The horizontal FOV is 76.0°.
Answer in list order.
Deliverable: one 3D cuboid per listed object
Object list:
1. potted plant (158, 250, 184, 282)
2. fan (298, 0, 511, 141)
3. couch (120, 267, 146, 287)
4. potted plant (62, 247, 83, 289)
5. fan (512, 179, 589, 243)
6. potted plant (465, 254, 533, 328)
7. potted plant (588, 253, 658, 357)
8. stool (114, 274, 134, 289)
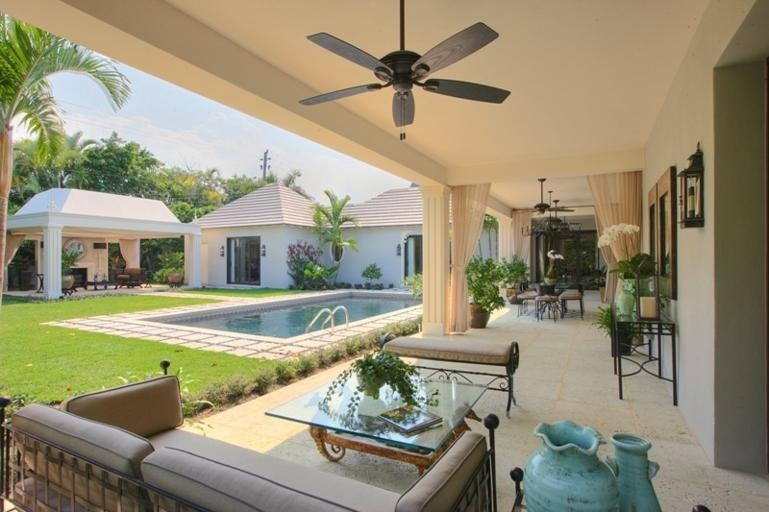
[{"bbox_3d":[-9.132,0.458,21.091,1.476,1.402,1.043,3,-4,-45],"label":"potted plant"},{"bbox_3d":[0.296,-1.546,4.052,1.427,0.680,1.446,-8,-11,44],"label":"fan"},{"bbox_3d":[-9.156,0.785,17.837,1.090,0.707,0.687,-3,-5,20],"label":"couch"},{"bbox_3d":[-10.850,0.397,17.140,0.601,1.196,2.604,-5,11,-31],"label":"potted plant"},{"bbox_3d":[4.508,-1.365,13.466,1.860,1.546,1.822,1,-7,-1],"label":"fan"},{"bbox_3d":[2.143,0.657,10.718,1.550,1.749,2.024,-1,-3,34],"label":"potted plant"},{"bbox_3d":[3.492,0.778,7.246,0.712,1.752,1.806,0,-2,21],"label":"potted plant"},{"bbox_3d":[-9.378,0.910,17.749,0.601,0.526,0.724,-3,10,-24],"label":"stool"}]
